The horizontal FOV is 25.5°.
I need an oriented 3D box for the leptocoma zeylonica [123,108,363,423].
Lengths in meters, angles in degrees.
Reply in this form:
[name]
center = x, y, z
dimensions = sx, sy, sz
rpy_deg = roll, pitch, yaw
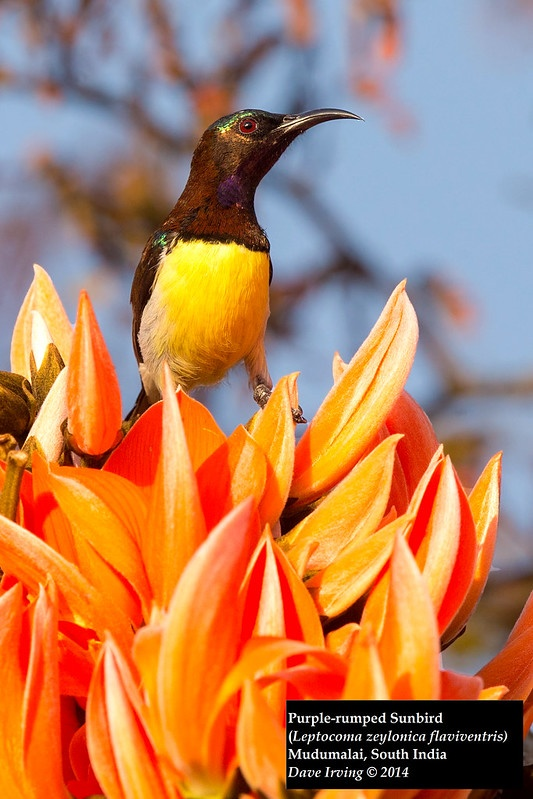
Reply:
[leptocoma zeylonica]
center = -0.063, -0.134, 1.171
dimensions = 0.139, 0.282, 0.301
rpy_deg = 6, -9, -40
